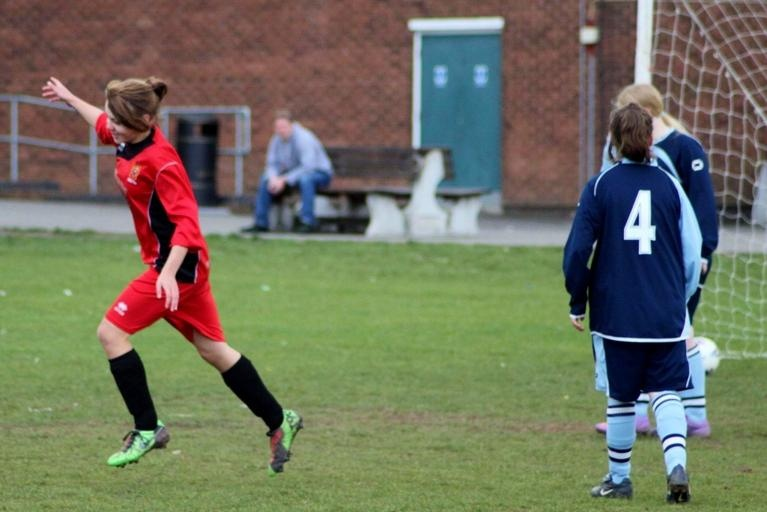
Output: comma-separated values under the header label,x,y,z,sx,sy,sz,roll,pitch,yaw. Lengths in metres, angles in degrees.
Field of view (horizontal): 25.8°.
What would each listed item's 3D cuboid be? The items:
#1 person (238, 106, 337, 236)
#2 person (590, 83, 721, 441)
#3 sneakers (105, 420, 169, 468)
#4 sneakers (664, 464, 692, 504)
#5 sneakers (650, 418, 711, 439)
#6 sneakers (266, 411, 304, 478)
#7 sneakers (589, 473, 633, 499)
label,x,y,z,sx,sy,sz,roll,pitch,yaw
person,-0.768,-0.693,13.590,0.843,0.918,0.788,-6,7,-13
person,2.364,0.216,14.279,1.286,2.804,1.000,5,29,25
sneakers,-1.974,1.495,13.437,0.579,0.261,0.253,-31,19,-10
sneakers,2.299,1.787,13.066,0.148,0.321,0.168,2,21,9
sneakers,2.513,1.450,14.111,0.538,0.201,0.174,3,-1,20
sneakers,-0.807,1.494,13.414,0.316,0.532,0.202,14,-10,-8
sneakers,1.805,1.853,13.300,0.425,0.183,0.134,2,-5,5
